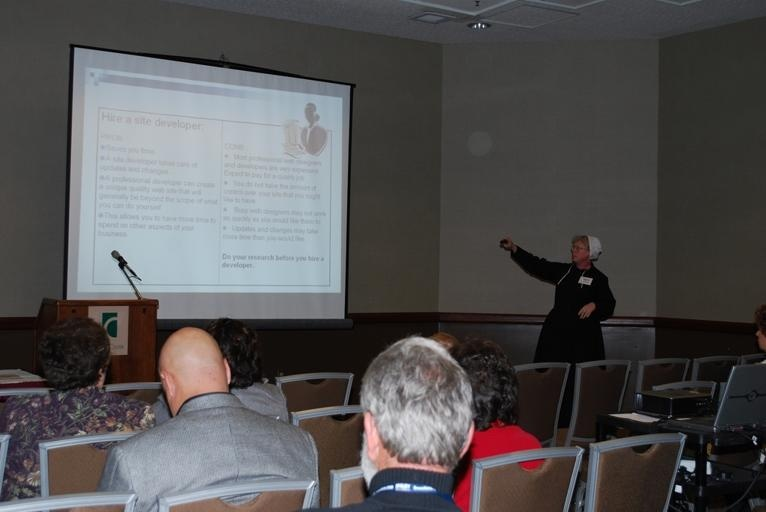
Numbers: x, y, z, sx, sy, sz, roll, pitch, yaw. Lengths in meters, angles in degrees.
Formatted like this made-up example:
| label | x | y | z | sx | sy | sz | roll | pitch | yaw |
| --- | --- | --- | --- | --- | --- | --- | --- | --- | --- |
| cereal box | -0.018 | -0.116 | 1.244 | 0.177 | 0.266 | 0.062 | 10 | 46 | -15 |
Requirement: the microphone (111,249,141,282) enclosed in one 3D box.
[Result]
| label | x | y | z | sx | sy | sz | roll | pitch | yaw |
| --- | --- | --- | --- | --- | --- | --- | --- | --- | --- |
| microphone | -2.355 | 0.058 | 5.357 | 0.157 | 0.172 | 0.608 | -40 | 21 | -13 |

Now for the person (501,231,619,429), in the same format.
| label | x | y | z | sx | sy | sz | roll | pitch | yaw |
| --- | --- | --- | --- | --- | --- | --- | --- | --- | --- |
| person | 1.929 | 0.712 | 6.376 | 1.125 | 1.928 | 0.634 | 7 | 18 | 27 |
